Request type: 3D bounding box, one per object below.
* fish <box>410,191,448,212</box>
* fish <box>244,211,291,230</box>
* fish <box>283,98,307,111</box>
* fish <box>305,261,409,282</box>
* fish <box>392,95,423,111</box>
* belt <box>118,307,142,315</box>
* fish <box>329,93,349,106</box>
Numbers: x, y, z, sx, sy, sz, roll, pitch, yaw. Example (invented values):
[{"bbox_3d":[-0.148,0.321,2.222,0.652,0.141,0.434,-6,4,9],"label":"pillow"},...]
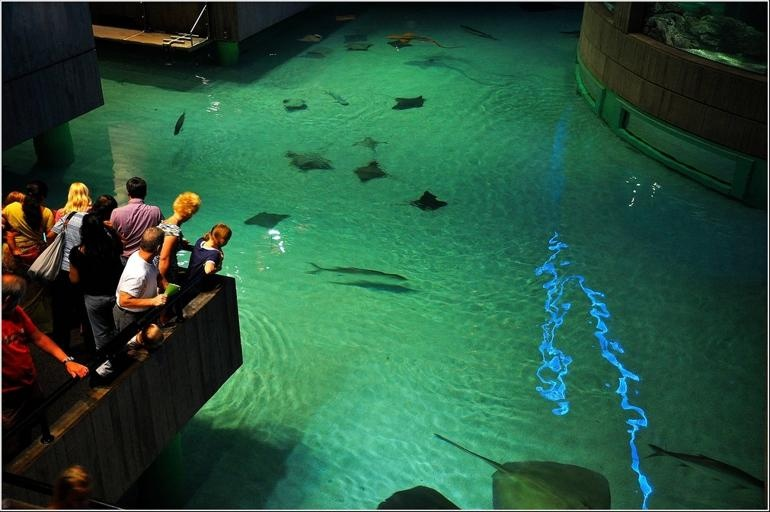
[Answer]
[{"bbox_3d":[1.089,-1.313,12.799,0.687,0.295,0.655,25,31,38],"label":"fish"},{"bbox_3d":[-2.799,-0.849,12.299,0.766,0.209,0.680,13,25,19],"label":"fish"},{"bbox_3d":[-2.771,-4.613,16.093,0.608,0.130,0.504,7,38,-6],"label":"fish"},{"bbox_3d":[-0.575,0.349,11.108,2.085,0.112,0.313,6,24,4],"label":"fish"},{"bbox_3d":[0.729,-4.772,16.567,0.871,0.206,0.531,-2,50,-17],"label":"fish"},{"bbox_3d":[-2.744,0.584,5.591,0.154,0.031,0.142,-1,27,-16],"label":"belt"},{"bbox_3d":[-1.482,-4.952,16.623,0.893,0.307,0.237,29,77,33],"label":"fish"}]
